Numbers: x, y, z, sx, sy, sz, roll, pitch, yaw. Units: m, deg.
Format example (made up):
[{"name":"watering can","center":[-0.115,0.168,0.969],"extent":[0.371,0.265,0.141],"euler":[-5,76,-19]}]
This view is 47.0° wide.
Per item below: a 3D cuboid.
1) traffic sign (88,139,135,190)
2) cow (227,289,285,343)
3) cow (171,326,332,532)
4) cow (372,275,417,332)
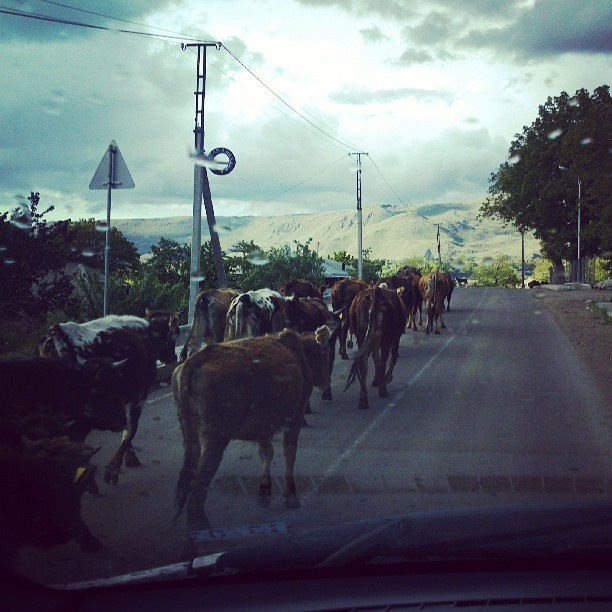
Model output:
[{"name":"traffic sign","center":[-3.329,-2.396,11.921],"extent":[0.688,0.804,0.282],"euler":[-6,6,-21]},{"name":"cow","center":[-0.933,0.074,13.263],"extent":[0.454,1.115,1.778],"euler":[5,9,21]},{"name":"cow","center":[-0.577,1.123,6.811],"extent":[0.991,1.563,2.323],"euler":[-2,6,15]},{"name":"cow","center":[2.554,-0.339,21.373],"extent":[0.714,1.975,3.160],"euler":[0,5,14]}]
